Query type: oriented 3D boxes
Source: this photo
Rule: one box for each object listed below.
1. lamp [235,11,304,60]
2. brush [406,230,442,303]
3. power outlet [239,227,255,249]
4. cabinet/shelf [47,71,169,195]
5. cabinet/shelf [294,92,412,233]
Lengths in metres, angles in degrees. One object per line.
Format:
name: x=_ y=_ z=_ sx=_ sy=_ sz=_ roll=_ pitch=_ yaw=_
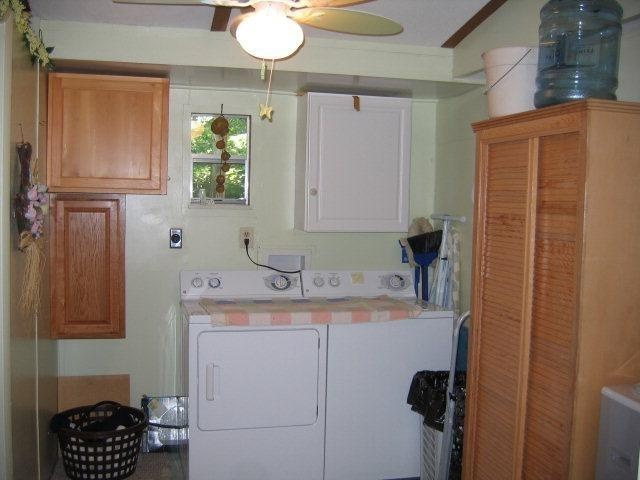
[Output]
lamp: x=-0.194 y=-0.768 z=2.045 sx=0.249 sy=0.148 sz=0.191 roll=-2 pitch=3 yaw=-12
brush: x=0.732 y=0.217 z=3.867 sx=0.268 sy=0.561 sz=0.086 roll=-2 pitch=33 yaw=3
power outlet: x=-0.520 y=-0.018 z=3.791 sx=0.150 sy=0.204 sz=0.021 roll=1 pitch=-3 yaw=-12
cabinet/shelf: x=-1.276 y=-0.636 z=3.461 sx=0.739 sy=0.711 sz=0.422 roll=2 pitch=2 yaw=3
cabinet/shelf: x=0.220 y=-0.496 z=3.511 sx=0.902 sy=1.072 sz=0.378 roll=0 pitch=7 yaw=-9
